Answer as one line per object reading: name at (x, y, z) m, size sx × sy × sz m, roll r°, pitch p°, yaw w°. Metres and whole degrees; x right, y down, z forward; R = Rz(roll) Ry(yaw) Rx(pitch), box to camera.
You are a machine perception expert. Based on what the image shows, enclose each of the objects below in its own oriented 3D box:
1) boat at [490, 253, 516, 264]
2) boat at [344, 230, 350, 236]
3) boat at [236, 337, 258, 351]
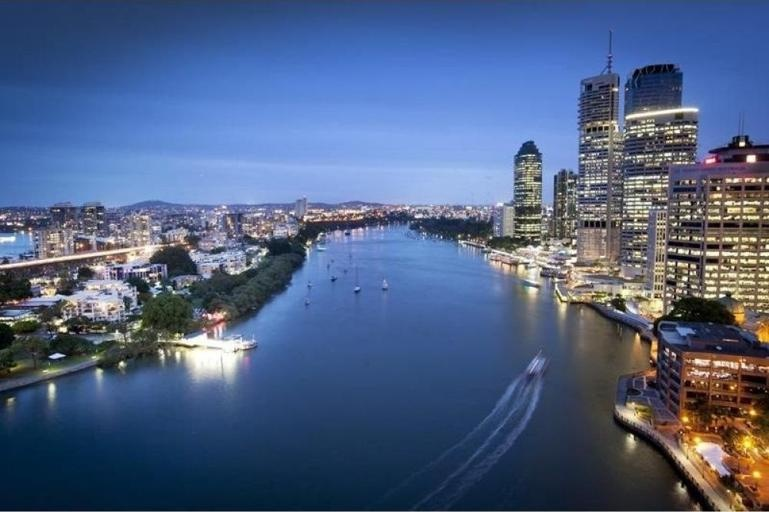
boat at (7.322, 0.102, 34.101) m, size 0.468 × 0.393 × 2.314 m, roll 3°, pitch 6°, yaw -6°
boat at (-3.954, -2.620, 59.784) m, size 0.680 × 0.339 × 0.923 m, roll 0°, pitch -1°, yaw -2°
boat at (-4.230, 2.679, 17.182) m, size 0.582 × 0.258 × 0.410 m, roll -2°, pitch 9°, yaw -13°
